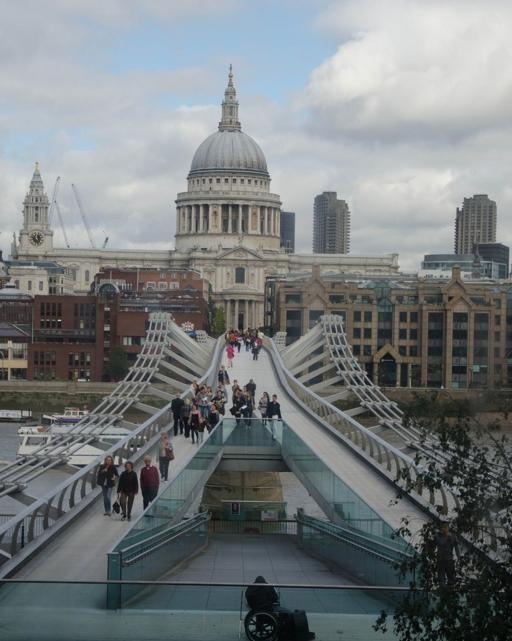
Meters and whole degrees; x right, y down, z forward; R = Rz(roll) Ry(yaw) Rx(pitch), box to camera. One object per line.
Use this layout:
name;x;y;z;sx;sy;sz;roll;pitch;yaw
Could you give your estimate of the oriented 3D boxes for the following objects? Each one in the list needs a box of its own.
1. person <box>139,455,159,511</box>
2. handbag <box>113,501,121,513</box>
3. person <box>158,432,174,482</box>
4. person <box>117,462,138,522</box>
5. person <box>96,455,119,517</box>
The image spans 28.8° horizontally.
person;-1.791;2.729;16.681;0.310;0.850;1.051;2;-8;-6
handbag;-2.347;3.131;16.707;0.046;0.175;0.179;1;-17;-30
person;-1.743;2.635;19.090;0.266;0.881;0.829;2;-8;-5
person;-2.129;2.810;16.369;0.321;0.936;0.472;2;-9;-7
person;-2.604;2.873;17.381;0.353;0.990;1.071;2;-8;-8
